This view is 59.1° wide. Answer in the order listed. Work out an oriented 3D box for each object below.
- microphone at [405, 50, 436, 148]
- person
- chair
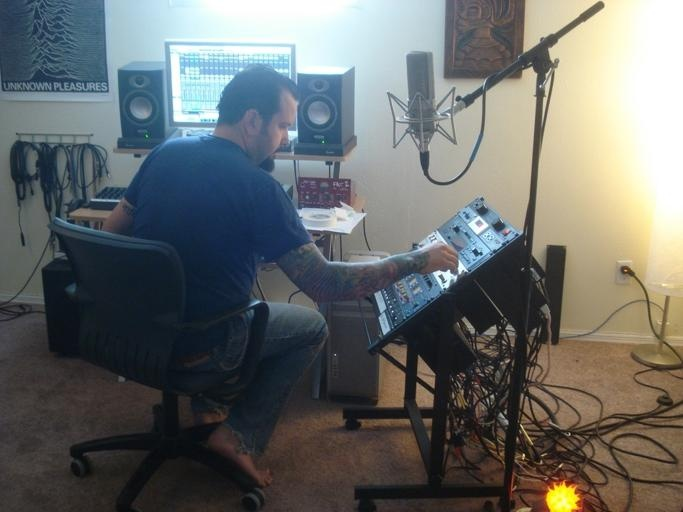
[{"bbox_3d":[0.283,-0.560,2.151,0.109,0.329,0.126,3,14,9],"label":"microphone"},{"bbox_3d":[-0.286,0.098,2.635,1.240,1.637,0.957,30,33,31],"label":"person"},{"bbox_3d":[-0.769,0.428,2.383,0.899,1.169,0.421,8,16,27],"label":"chair"}]
